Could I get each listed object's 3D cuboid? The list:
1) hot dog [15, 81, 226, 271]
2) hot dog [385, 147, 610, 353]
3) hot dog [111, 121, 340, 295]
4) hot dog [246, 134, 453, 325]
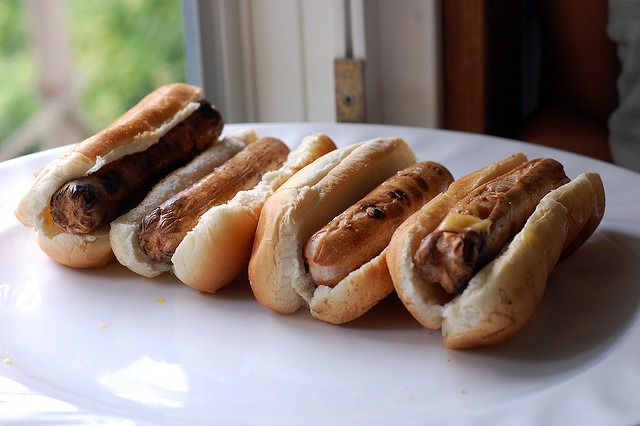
[{"bbox_3d":[-0.457,-0.141,1.517,0.226,0.288,0.595,5,44,45],"label":"hot dog"},{"bbox_3d":[0.374,-0.001,1.168,0.270,0.225,0.517,19,41,30],"label":"hot dog"},{"bbox_3d":[-0.178,-0.014,1.385,0.272,0.169,0.541,-6,31,47],"label":"hot dog"},{"bbox_3d":[0.107,0.030,1.292,0.333,0.181,0.556,24,41,23],"label":"hot dog"}]
